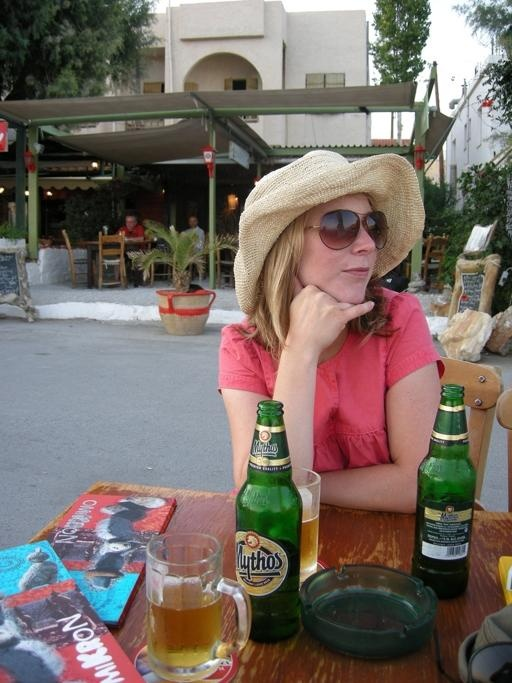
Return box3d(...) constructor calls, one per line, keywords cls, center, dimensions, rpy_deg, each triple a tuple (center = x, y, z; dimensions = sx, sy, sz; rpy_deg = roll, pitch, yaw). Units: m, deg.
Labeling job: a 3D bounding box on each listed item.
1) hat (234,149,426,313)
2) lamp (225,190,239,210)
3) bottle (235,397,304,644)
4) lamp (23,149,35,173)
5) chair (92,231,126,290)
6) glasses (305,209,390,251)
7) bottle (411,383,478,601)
box3d(cls="hat", center=(0.215, -0.271, 1.597), dimensions=(0.535, 0.410, 0.414), rpy_deg=(1, 3, -7))
box3d(cls="lamp", center=(-0.793, -4.794, 20.412), dimensions=(0.617, 0.743, 0.607), rpy_deg=(-1, 0, 3))
box3d(cls="bottle", center=(0.018, 0.237, 0.791), dimensions=(0.088, 0.316, 0.082), rpy_deg=(2, 3, 0))
box3d(cls="lamp", center=(-5.054, -4.047, 13.422), dimensions=(0.225, 0.391, 0.448), rpy_deg=(1, 3, -19))
box3d(cls="chair", center=(-3.209, -1.735, 13.288), dimensions=(0.605, 1.195, 2.656), rpy_deg=(1, 3, -14))
box3d(cls="glasses", center=(0.240, -0.251, 1.459), dimensions=(0.137, 0.064, 0.151), rpy_deg=(-6, 8, -28))
box3d(cls="bottle", center=(0.296, 0.224, 0.937), dimensions=(0.087, 0.324, 0.206), rpy_deg=(3, 3, 20))
